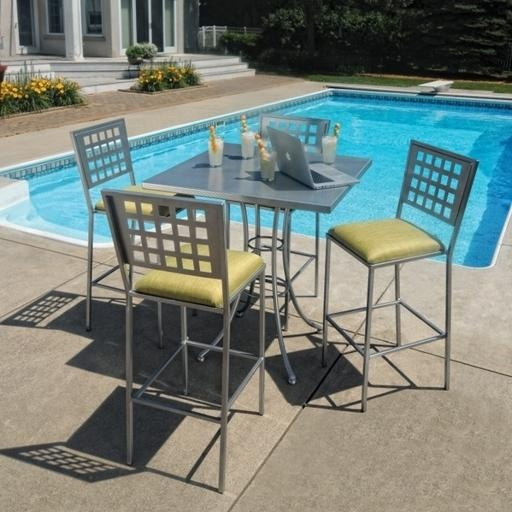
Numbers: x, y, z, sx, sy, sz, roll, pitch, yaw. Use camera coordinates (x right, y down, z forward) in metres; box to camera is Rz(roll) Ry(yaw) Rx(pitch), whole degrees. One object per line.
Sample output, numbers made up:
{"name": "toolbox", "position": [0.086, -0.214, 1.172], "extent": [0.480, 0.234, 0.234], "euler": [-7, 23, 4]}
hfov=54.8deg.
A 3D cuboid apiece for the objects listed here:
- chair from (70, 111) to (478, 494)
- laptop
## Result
{"name": "chair", "position": [0.242, 0.169, 2.194], "extent": [1.598, 0.933, 1.531], "euler": [9, 24, 24]}
{"name": "laptop", "position": [0.304, -0.446, 2.383], "extent": [0.382, 0.280, 0.422], "euler": [-16, 28, -27]}
